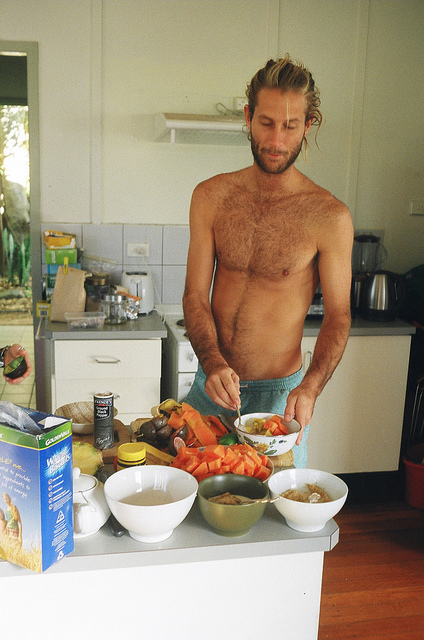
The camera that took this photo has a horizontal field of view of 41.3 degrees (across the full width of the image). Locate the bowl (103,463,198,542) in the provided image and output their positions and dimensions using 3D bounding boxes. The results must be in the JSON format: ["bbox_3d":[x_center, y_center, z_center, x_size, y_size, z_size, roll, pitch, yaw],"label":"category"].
[{"bbox_3d":[-0.097,0.273,0.904,0.114,0.056,0.112,1,14,0],"label":"bowl"}]

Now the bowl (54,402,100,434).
[{"bbox_3d":[-0.286,0.211,1.213,0.098,0.026,0.099,3,18,-1],"label":"bowl"}]

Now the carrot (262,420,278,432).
[{"bbox_3d":[0.122,0.212,1.140,0.021,0.020,0.005,16,14,-26],"label":"carrot"}]

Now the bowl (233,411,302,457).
[{"bbox_3d":[0.123,0.242,1.154,0.121,0.054,0.121,1,10,0],"label":"bowl"}]

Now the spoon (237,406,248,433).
[{"bbox_3d":[0.060,0.208,1.179,0.011,0.008,0.058,5,51,-38],"label":"spoon"}]

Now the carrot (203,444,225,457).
[{"bbox_3d":[0.002,0.242,1.045,0.029,0.016,0.028,-7,-32,18],"label":"carrot"}]

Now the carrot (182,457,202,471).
[{"bbox_3d":[-0.035,0.256,1.010,0.021,0.027,0.027,34,42,6],"label":"carrot"}]

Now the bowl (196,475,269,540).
[{"bbox_3d":[0.025,0.321,0.958,0.156,0.091,0.157,-3,-13,-1],"label":"bowl"}]

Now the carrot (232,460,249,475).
[{"bbox_3d":[0.049,0.260,0.998,0.021,0.022,0.006,47,-23,-26],"label":"carrot"}]

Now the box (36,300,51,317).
[{"bbox_3d":[-0.802,-0.056,2.686,0.078,0.071,0.040,3,20,-3],"label":"box"}]

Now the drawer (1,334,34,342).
[{"bbox_3d":[-1.643,0.153,4.736,0.254,0.048,0.169,-2,12,-28],"label":"drawer"}]

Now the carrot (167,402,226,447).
[{"bbox_3d":[-0.030,0.225,1.228,0.090,0.033,0.092,30,25,26],"label":"carrot"}]

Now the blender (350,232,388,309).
[{"bbox_3d":[0.840,-0.261,3.059,0.241,0.430,0.162,2,4,-12],"label":"blender"}]

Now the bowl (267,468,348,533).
[{"bbox_3d":[0.166,0.300,0.967,0.140,0.090,0.132,1,14,0],"label":"bowl"}]

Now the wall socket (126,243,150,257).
[{"bbox_3d":[-0.389,-0.371,2.959,0.123,0.078,0.013,2,11,-11],"label":"wall socket"}]

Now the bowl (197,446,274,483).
[{"bbox_3d":[0.045,0.248,1.034,0.093,0.047,0.098,2,9,0],"label":"bowl"}]

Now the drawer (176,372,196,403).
[{"bbox_3d":[-0.118,0.292,2.466,0.074,0.132,0.041,3,11,-4],"label":"drawer"}]

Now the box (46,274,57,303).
[{"bbox_3d":[-0.774,-0.153,2.692,0.058,0.138,0.030,8,11,21],"label":"box"}]

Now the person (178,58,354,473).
[{"bbox_3d":[0.158,-0.161,1.377,0.442,0.913,0.532,4,11,-2],"label":"person"}]

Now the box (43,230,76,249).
[{"bbox_3d":[-0.730,-0.387,2.699,0.114,0.068,0.112,3,10,-2],"label":"box"}]
